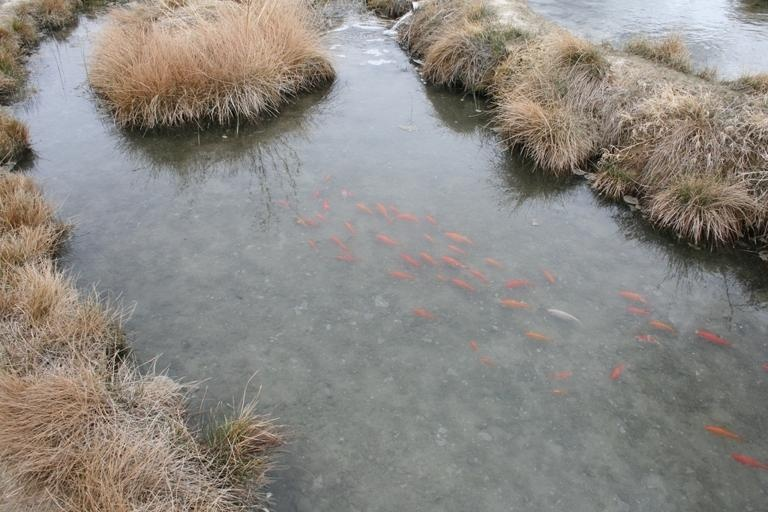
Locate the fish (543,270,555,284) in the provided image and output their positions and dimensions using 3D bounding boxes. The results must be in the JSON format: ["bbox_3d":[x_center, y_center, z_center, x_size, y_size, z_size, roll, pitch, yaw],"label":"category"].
[{"bbox_3d":[2.810,0.341,11.031,0.174,0.093,0.271,-14,45,-6],"label":"fish"}]

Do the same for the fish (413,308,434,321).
[{"bbox_3d":[0.639,0.929,10.565,0.312,0.123,0.171,-7,44,1],"label":"fish"}]

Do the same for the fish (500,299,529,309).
[{"bbox_3d":[2.148,0.764,10.685,0.461,0.101,0.155,1,45,10],"label":"fish"}]

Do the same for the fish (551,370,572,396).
[{"bbox_3d":[2.722,1.931,9.954,0.255,0.549,0.160,-6,55,-12],"label":"fish"}]

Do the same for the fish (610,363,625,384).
[{"bbox_3d":[3.609,1.782,10.042,0.255,0.065,0.163,-43,72,-6],"label":"fish"}]
